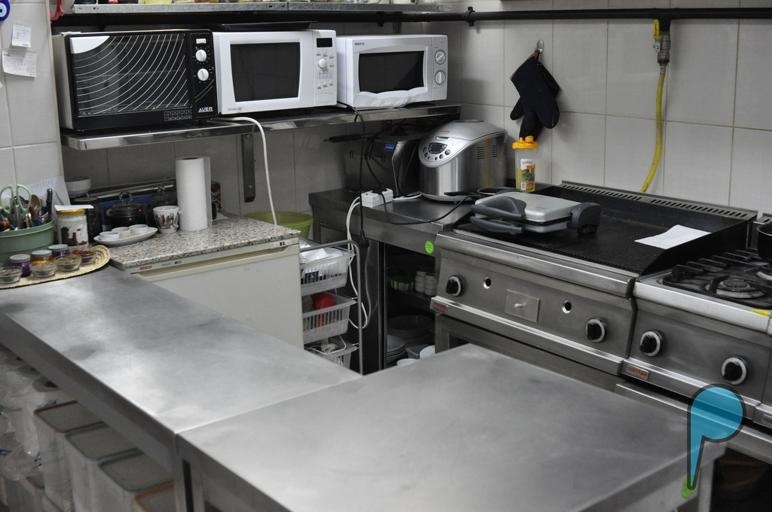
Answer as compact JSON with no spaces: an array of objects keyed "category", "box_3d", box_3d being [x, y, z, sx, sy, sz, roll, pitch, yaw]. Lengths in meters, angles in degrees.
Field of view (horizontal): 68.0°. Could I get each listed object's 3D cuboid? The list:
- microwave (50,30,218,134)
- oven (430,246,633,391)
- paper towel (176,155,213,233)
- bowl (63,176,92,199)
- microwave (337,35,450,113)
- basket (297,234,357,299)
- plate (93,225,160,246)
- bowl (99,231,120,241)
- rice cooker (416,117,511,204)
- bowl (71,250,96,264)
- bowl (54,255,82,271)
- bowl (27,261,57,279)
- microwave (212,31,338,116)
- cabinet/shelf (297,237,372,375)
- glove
[{"category":"microwave","box_3d":[-0.964,-0.711,2.434,0.598,0.383,0.371,-5,0,-1]},{"category":"oven","box_3d":[0.656,0.213,2.360,0.574,0.485,0.731,-15,20,-38]},{"category":"paper towel","box_3d":[-0.833,-0.274,2.505,0.182,0.310,0.124,-18,21,-35]},{"category":"bowl","box_3d":[-1.306,-0.294,2.435,0.089,0.050,0.089,0,14,0]},{"category":"microwave","box_3d":[0.018,-0.972,2.997,0.543,0.341,0.321,-13,26,-22]},{"category":"basket","box_3d":[-0.276,0.047,2.617,0.211,0.179,0.287,-9,22,-26]},{"category":"plate","box_3d":[-1.048,-0.084,2.321,0.105,0.031,0.156,13,22,42]},{"category":"bowl","box_3d":[-1.113,-0.085,2.287,0.047,0.021,0.047,1,7,0]},{"category":"rice cooker","box_3d":[0.381,-0.529,2.966,0.347,0.436,0.366,-14,24,-40]},{"category":"bowl","box_3d":[-1.083,-0.004,2.057,0.063,0.030,0.062,2,8,0]},{"category":"bowl","box_3d":[-1.102,0.027,1.993,0.079,0.046,0.080,-5,17,1]},{"category":"bowl","box_3d":[-1.160,0.042,1.923,0.063,0.032,0.063,1,5,0]},{"category":"microwave","box_3d":[-0.558,-0.824,2.645,0.566,0.411,0.396,-15,26,-41]},{"category":"cabinet/shelf","box_3d":[-0.247,0.258,2.839,0.432,0.627,0.426,-6,12,-31]},{"category":"glove","box_3d":[0.777,-0.834,2.989,0.259,0.452,0.145,3,19,25]}]
